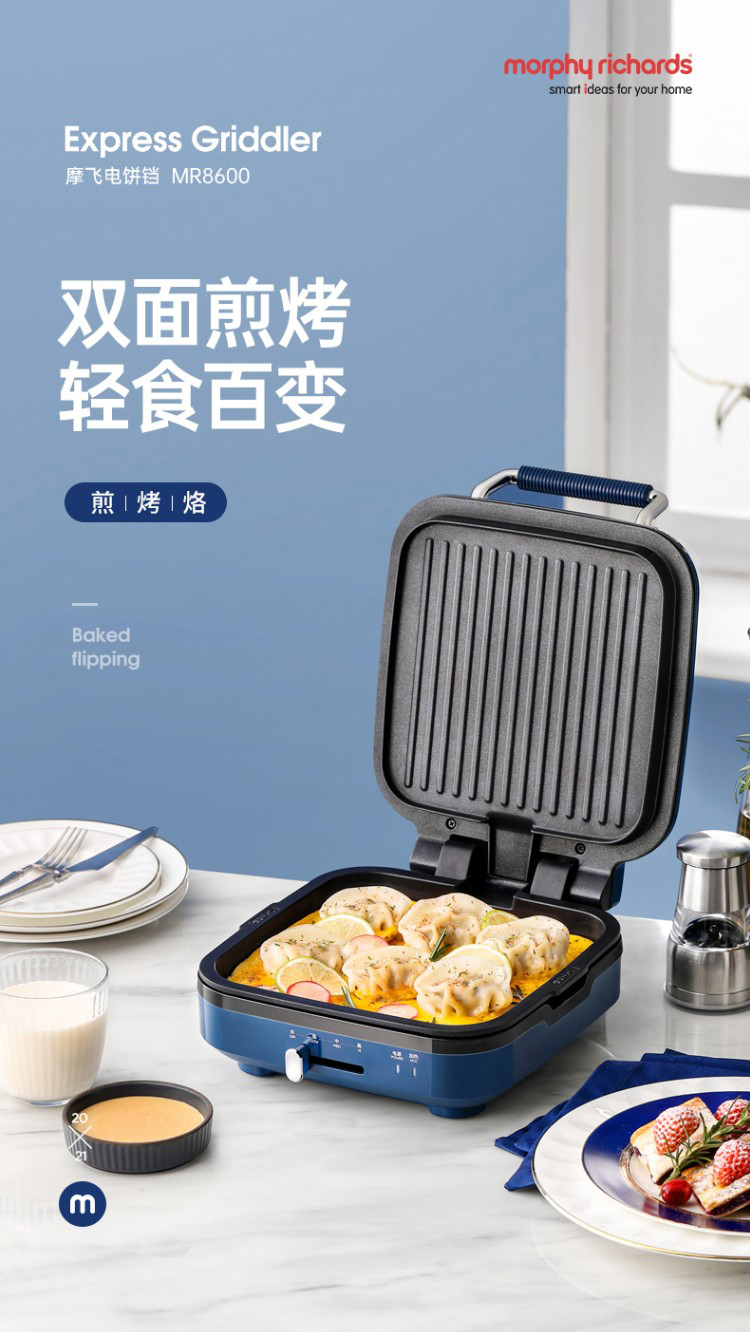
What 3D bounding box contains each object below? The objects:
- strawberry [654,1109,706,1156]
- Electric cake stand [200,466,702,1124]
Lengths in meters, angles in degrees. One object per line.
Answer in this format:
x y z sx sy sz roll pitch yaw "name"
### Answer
0.212 0.324 0.851 0.023 0.017 0.030 -26 1 29 "strawberry"
0.086 0.121 1.224 0.354 0.550 0.567 7 13 29 "Electric cake stand"
